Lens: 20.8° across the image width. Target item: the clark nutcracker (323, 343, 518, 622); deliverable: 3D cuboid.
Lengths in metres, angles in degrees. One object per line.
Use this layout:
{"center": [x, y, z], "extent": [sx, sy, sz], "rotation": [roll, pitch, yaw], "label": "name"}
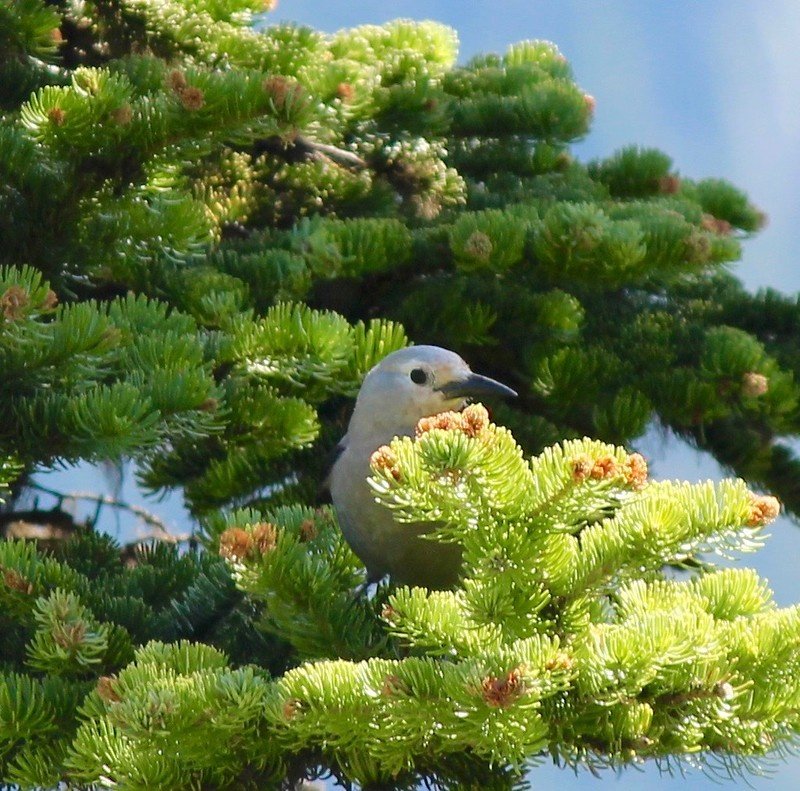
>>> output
{"center": [0.025, 0.108, 3.169], "extent": [0.255, 0.331, 0.389], "rotation": [-6, 14, -5], "label": "clark nutcracker"}
